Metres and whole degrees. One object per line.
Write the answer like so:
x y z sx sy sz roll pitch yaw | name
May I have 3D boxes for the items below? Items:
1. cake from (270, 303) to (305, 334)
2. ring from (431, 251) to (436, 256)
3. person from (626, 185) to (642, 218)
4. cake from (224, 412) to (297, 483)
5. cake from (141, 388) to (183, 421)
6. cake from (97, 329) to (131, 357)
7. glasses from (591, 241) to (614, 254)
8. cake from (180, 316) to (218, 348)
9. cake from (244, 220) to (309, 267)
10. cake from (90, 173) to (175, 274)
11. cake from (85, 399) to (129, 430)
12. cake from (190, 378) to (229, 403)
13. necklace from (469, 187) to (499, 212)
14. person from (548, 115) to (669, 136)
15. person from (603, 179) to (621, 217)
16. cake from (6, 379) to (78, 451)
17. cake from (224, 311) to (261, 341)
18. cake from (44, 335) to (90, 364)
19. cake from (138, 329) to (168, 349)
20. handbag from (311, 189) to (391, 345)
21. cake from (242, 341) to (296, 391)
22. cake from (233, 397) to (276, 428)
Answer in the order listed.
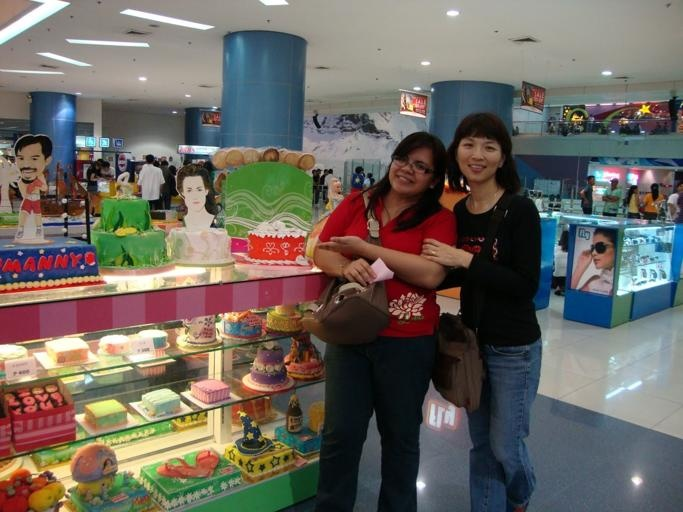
-0.330 0.370 2.916 0.193 0.201 0.193 4 -1 -11 | cake
0.397 -0.010 2.106 0.019 0.012 0.032 -3 0 26 | ring
7.351 -1.365 12.250 0.310 0.748 2.359 8 11 30 | person
-0.455 1.136 2.827 0.328 0.221 0.316 -6 19 -39 | cake
-0.931 0.743 2.518 0.139 0.090 0.137 -6 11 -45 | cake
-1.076 0.413 2.305 0.101 0.041 0.103 3 3 7 | cake
3.578 -0.106 6.707 0.179 0.079 0.178 9 -6 -14 | glasses
-0.757 0.369 2.551 0.181 0.128 0.183 2 4 -4 | cake
-0.371 -0.061 2.735 0.267 0.171 0.271 4 1 -3 | cake
-0.971 -0.112 2.328 0.335 0.347 0.357 -1 3 -8 | cake
-1.142 0.735 2.349 0.136 0.073 0.138 11 12 43 | cake
-0.715 0.705 2.663 0.139 0.064 0.142 14 13 42 | cake
0.673 -0.270 2.320 0.096 0.098 0.129 -9 19 -28 | necklace
9.296 -4.409 16.898 3.824 0.556 0.641 8 11 30 | person
6.781 -1.471 12.220 0.364 0.911 2.029 7 11 29 | person
-1.323 0.681 2.143 0.265 0.200 0.262 -3 5 -38 | cake
-0.546 0.389 2.688 0.170 0.106 0.172 4 9 7 | cake
-1.223 0.427 2.187 0.134 0.064 0.131 1 7 -38 | cake
-0.932 0.410 2.416 0.036 0.109 0.145 9 12 38 | cake
0.043 0.118 2.140 0.335 0.595 0.300 2 9 -3 | handbag
-0.425 0.651 2.907 0.265 0.198 0.278 3 7 9 | cake
-0.553 0.969 3.013 0.284 0.139 0.407 1 -2 -11 | cake
